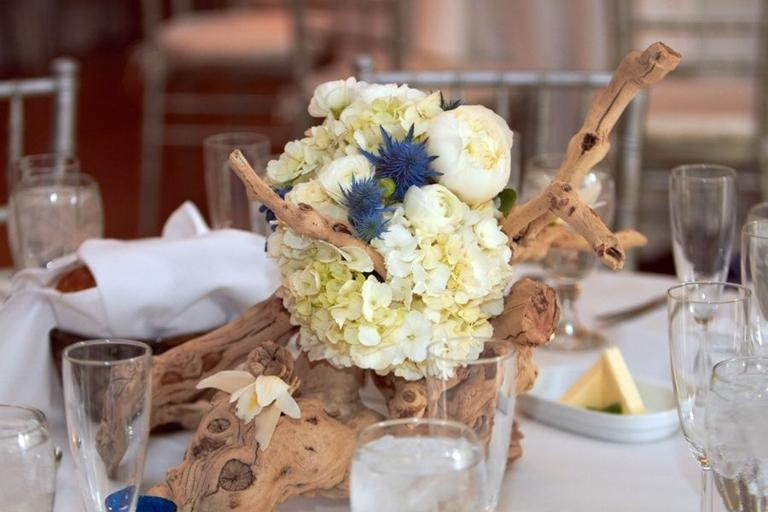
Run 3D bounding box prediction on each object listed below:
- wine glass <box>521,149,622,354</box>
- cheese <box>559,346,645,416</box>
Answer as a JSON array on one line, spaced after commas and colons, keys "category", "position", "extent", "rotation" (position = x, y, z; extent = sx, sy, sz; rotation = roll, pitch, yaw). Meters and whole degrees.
[{"category": "wine glass", "position": [0.340, 0.010, 1.546], "extent": [0.124, 0.422, 0.123], "rotation": [13, 20, 39]}, {"category": "cheese", "position": [0.338, 0.193, 1.321], "extent": [0.109, 0.104, 0.117], "rotation": [-24, 18, -35]}]
